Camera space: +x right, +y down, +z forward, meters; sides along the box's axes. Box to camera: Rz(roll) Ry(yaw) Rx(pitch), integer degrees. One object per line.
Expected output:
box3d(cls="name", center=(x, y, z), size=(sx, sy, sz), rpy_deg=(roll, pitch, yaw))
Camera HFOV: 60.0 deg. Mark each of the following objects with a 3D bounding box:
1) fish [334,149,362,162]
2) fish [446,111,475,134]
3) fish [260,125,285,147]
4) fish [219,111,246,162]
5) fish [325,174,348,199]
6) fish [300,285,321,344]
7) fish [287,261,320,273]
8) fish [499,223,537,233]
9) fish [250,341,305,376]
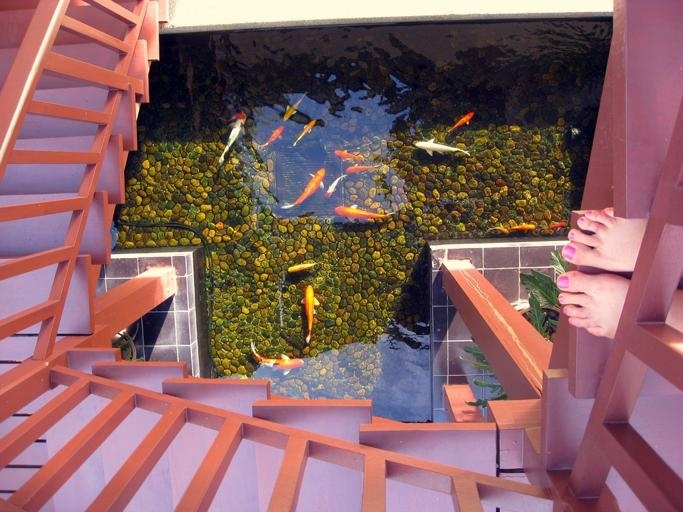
box3d(cls="fish", center=(0.047, -0.609, 3.567), size=(0.119, 0.037, 0.040), rpy_deg=(15, -3, 9))
box3d(cls="fish", center=(0.716, -0.796, 3.549), size=(0.078, 0.182, 0.079), rpy_deg=(54, 9, -1))
box3d(cls="fish", center=(-0.405, -0.723, 3.579), size=(0.069, 0.191, 0.064), rpy_deg=(43, 7, -19))
box3d(cls="fish", center=(-0.689, -0.737, 3.543), size=(0.084, 0.337, 0.142), rpy_deg=(21, 17, -12))
box3d(cls="fish", center=(-0.043, -0.430, 3.627), size=(0.061, 0.213, 0.081), rpy_deg=(40, 25, 19))
box3d(cls="fish", center=(-0.197, 0.368, 3.692), size=(0.104, 0.370, 0.052), rpy_deg=(2, 15, -5))
box3d(cls="fish", center=(-0.231, 0.067, 3.651), size=(0.149, 0.035, 0.039), rpy_deg=(-9, 12, -4))
box3d(cls="fish", center=(1.063, -0.165, 3.575), size=(0.222, 0.070, 0.016), rpy_deg=(4, 15, -4))
box3d(cls="fish", center=(-0.417, 0.657, 3.774), size=(0.307, 0.174, 0.150), rpy_deg=(3, 6, -2))
